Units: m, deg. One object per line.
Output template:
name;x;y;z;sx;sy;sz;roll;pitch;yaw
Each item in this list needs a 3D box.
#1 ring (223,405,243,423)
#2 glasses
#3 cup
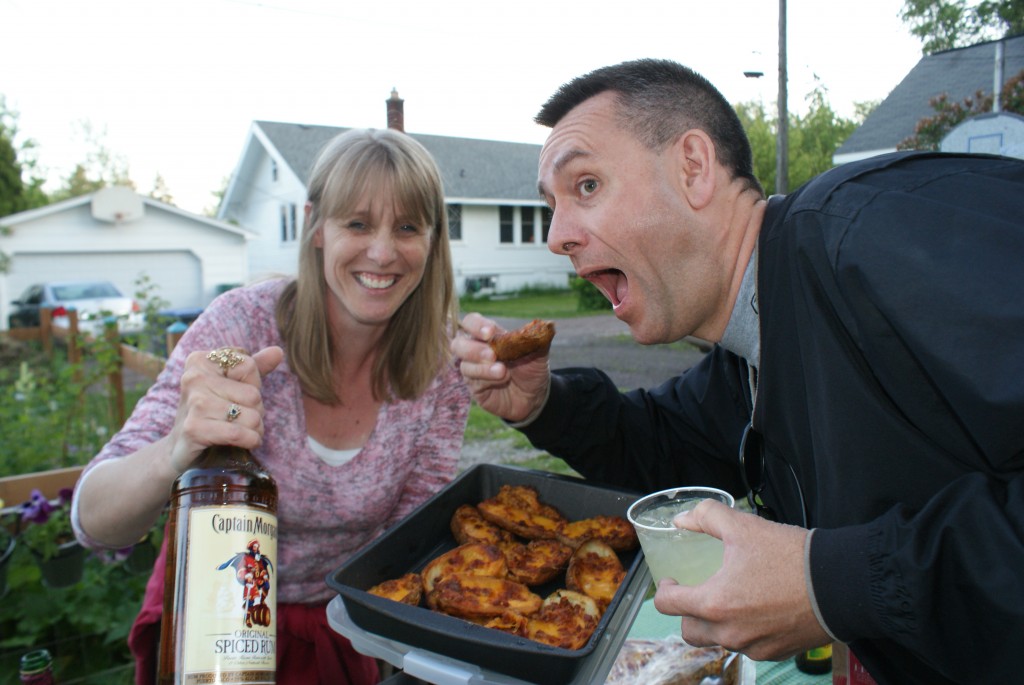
ring;-0.831;0.211;2.393;0.036;0.049;0.040;-4;12;-37
glasses;0.831;0.417;2.586;0.209;0.304;0.097;-18;1;-42
cup;0.471;0.506;2.293;0.266;0.238;0.300;-15;1;-3
